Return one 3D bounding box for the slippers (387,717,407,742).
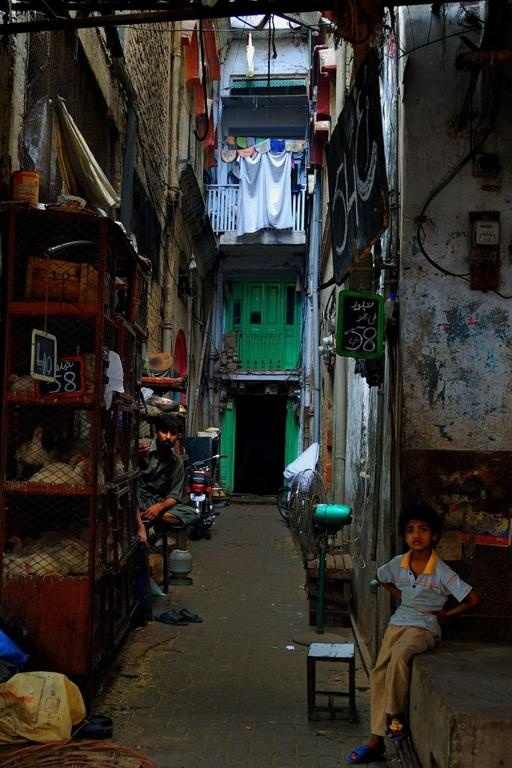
[{"bbox_3d":[0.698,1.751,3.981,0.107,0.141,0.075,-2,-1,-3],"label":"slippers"}]

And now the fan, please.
[{"bbox_3d":[0.594,1.470,6.825,0.591,1.570,0.698,1,2,-5],"label":"fan"}]

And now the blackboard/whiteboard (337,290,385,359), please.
[{"bbox_3d":[0.640,-0.364,4.830,0.291,0.407,0.194,2,-3,7],"label":"blackboard/whiteboard"}]

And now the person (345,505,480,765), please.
[{"bbox_3d":[0.860,1.256,4.253,0.598,1.359,0.738,0,-4,16],"label":"person"}]

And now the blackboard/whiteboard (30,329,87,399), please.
[{"bbox_3d":[-1.093,-0.103,4.356,0.283,0.341,0.434,3,-4,-13],"label":"blackboard/whiteboard"}]

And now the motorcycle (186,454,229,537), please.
[{"bbox_3d":[-0.919,1.788,12.545,0.601,1.187,1.684,-1,-8,0],"label":"motorcycle"}]

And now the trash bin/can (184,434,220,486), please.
[{"bbox_3d":[-0.998,1.418,14.620,0.424,0.962,0.493,0,0,8],"label":"trash bin/can"}]

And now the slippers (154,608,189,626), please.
[{"bbox_3d":[-0.751,2.079,6.920,0.176,0.083,0.135,1,-1,26],"label":"slippers"}]

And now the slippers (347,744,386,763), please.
[{"bbox_3d":[0.574,1.936,4.067,0.163,0.076,0.092,4,24,-5],"label":"slippers"}]
